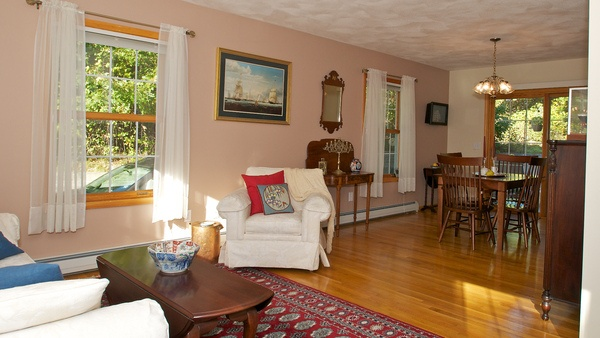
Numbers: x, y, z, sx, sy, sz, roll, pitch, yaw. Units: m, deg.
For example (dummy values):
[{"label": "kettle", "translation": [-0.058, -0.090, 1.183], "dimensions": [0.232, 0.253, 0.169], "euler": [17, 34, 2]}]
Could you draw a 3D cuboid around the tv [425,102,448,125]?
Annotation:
[{"label": "tv", "translation": [3.312, -1.285, 8.645], "dimensions": [0.240, 0.515, 0.675], "euler": [-6, 14, -13]}]

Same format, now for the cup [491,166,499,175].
[{"label": "cup", "translation": [3.523, 0.028, 6.755], "dimensions": [0.131, 0.185, 0.126], "euler": [1, 8, 0]}]

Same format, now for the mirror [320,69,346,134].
[{"label": "mirror", "translation": [0.599, -1.246, 6.978], "dimensions": [0.596, 1.141, 0.225], "euler": [-12, 19, -43]}]

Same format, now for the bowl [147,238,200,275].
[{"label": "bowl", "translation": [-1.343, 0.925, 3.986], "dimensions": [0.542, 0.224, 0.495], "euler": [1, 7, 0]}]

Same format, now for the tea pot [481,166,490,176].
[{"label": "tea pot", "translation": [3.149, 0.039, 6.380], "dimensions": [0.147, 0.127, 0.204], "euler": [7, 6, 36]}]

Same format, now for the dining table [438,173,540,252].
[{"label": "dining table", "translation": [3.354, 0.583, 6.585], "dimensions": [1.280, 1.282, 1.519], "euler": [1, 2, 45]}]

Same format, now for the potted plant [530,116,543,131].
[{"label": "potted plant", "translation": [5.026, -0.954, 7.916], "dimensions": [0.290, 0.255, 0.273], "euler": [1, -3, 0]}]

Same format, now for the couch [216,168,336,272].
[{"label": "couch", "translation": [-0.321, 0.654, 5.667], "dimensions": [1.731, 1.215, 1.476], "euler": [-1, 8, -6]}]
